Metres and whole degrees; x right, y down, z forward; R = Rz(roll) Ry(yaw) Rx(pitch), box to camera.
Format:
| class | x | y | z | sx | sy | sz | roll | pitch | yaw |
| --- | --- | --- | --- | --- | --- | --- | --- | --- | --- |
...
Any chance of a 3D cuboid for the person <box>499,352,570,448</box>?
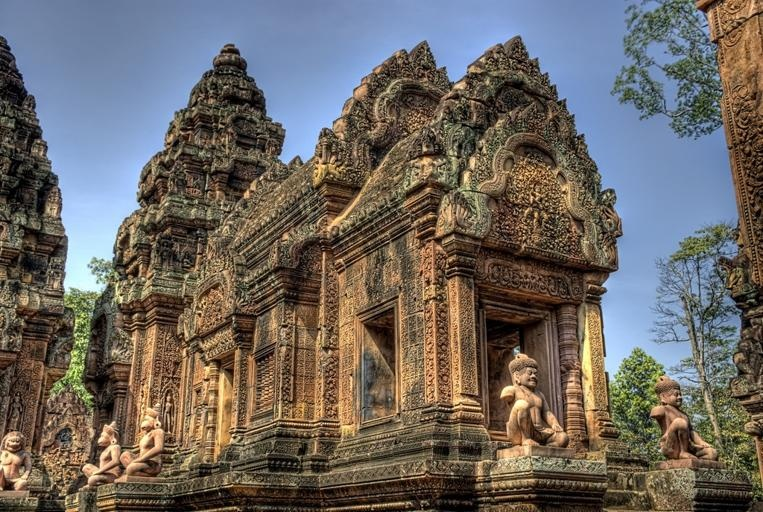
| class | x | y | z | sx | sy | sz | roll | pitch | yaw |
| --- | --- | --- | --- | --- | --- | --- | --- | --- | --- |
| person | 2.133 | 2.047 | 10.940 | 0.831 | 1.326 | 0.361 | -1 | -25 | 7 |

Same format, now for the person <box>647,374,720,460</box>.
| class | x | y | z | sx | sy | sz | roll | pitch | yaw |
| --- | --- | --- | --- | --- | --- | --- | --- | --- | --- |
| person | 4.343 | 2.357 | 11.388 | 0.845 | 1.288 | 0.530 | 23 | -32 | -37 |

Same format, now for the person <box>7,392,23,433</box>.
| class | x | y | z | sx | sy | sz | roll | pitch | yaw |
| --- | --- | --- | --- | --- | --- | --- | --- | --- | --- |
| person | -9.690 | 4.168 | 20.544 | 0.365 | 0.982 | 0.119 | 14 | -28 | -24 |
